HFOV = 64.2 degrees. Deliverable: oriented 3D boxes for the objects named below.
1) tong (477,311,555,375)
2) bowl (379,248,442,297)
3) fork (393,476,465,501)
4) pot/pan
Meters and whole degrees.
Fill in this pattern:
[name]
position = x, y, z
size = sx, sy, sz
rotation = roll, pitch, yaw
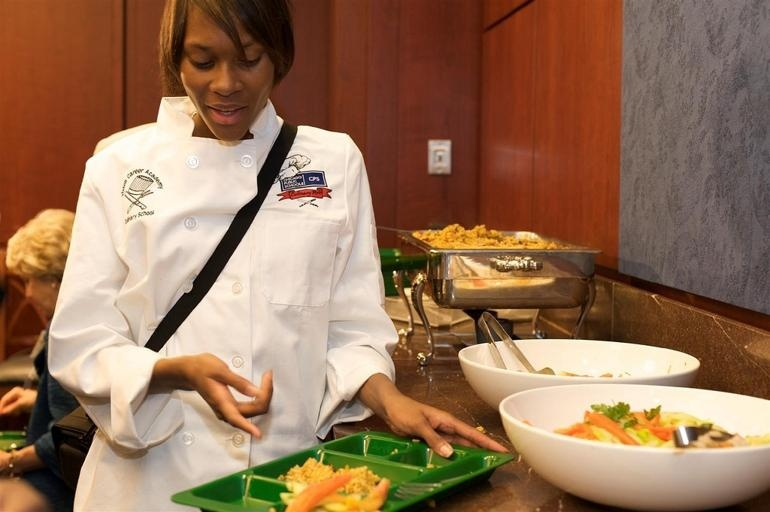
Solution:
[tong]
position = 0.269, 0.199, 1.337
size = 0.088, 0.034, 0.169
rotation = -11, 52, -26
[bowl]
position = 0.077, 0.030, 2.006
size = 0.152, 0.105, 0.214
rotation = 0, 4, -8
[fork]
position = 0.068, 0.350, 0.932
size = 0.099, 0.006, 0.032
rotation = -4, 30, 8
[pot/pan]
position = 0.302, 0.065, 1.582
size = 0.315, 0.220, 0.450
rotation = 0, 7, -9
